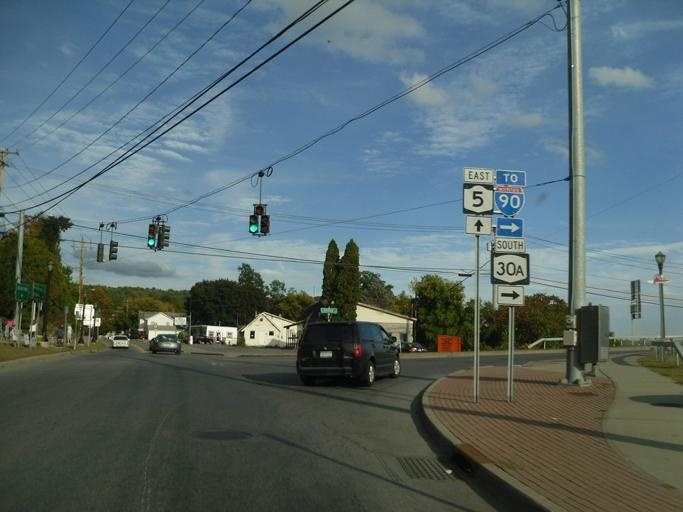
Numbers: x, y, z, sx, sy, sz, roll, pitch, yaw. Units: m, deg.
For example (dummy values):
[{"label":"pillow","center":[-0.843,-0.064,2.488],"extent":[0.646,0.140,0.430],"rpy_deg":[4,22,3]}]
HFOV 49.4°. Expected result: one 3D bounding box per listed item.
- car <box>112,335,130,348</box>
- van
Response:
[{"label":"car","center":[-19.389,7.628,64.926],"extent":[1.114,0.857,2.342],"rpy_deg":[0,1,-13]},{"label":"van","center":[0.481,2.824,21.812],"extent":[1.534,1.169,3.198],"rpy_deg":[-3,-4,26]}]
